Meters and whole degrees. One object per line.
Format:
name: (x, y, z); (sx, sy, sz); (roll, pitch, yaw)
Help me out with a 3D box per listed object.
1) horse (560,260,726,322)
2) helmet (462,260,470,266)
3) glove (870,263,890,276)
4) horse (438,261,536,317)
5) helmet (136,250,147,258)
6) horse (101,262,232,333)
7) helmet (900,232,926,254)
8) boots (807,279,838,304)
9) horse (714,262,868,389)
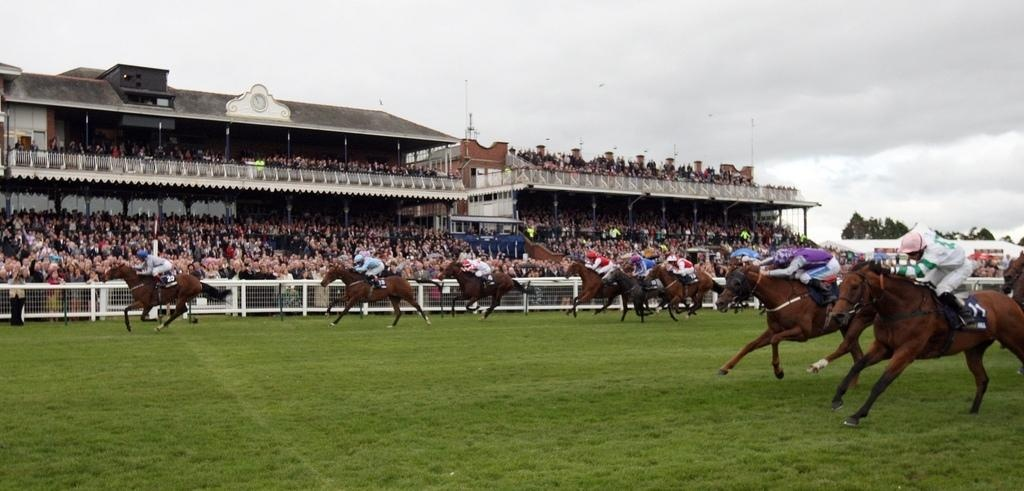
horse: (4.693, 1.630, 41.243); (5.260, 2.098, 2.060); (-1, -3, 2)
helmet: (-1.664, 0.608, 41.107); (0.254, 0.259, 0.189); (0, -3, -3)
glove: (9.913, 0.589, 30.672); (0.626, 0.357, 0.237); (0, -3, -18)
horse: (-1.086, 1.615, 41.518); (3.501, 2.040, 0.749); (2, -4, -39)
helmet: (-12.153, 0.270, 37.279); (0.513, 0.194, 0.468); (0, -4, -23)
horse: (-11.641, 1.623, 38.028); (0.922, 2.229, 4.616); (1, 4, 40)
helmet: (10.826, -0.076, 30.653); (0.701, 0.324, 0.497); (-22, 11, -13)
boots: (8.931, 1.330, 32.790); (0.658, 0.848, 0.407); (4, -2, 6)
horse: (8.574, 2.359, 33.413); (6.423, 3.343, 1.500); (5, -9, -33)
